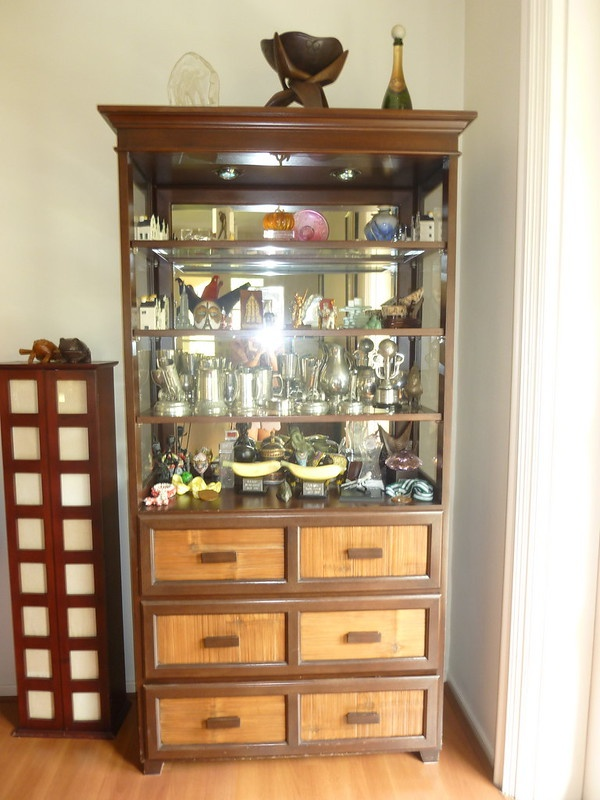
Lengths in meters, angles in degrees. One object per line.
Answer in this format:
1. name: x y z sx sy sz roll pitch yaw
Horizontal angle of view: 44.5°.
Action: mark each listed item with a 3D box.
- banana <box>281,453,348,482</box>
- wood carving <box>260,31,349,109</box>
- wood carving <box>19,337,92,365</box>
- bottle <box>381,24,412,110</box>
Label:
1. banana: 0.056 0.246 2.531 0.303 0.110 0.081 -2 -22 5
2. wood carving: -0.010 -1.031 2.336 0.295 0.254 0.198 9 14 41
3. wood carving: -0.868 -0.180 2.574 0.173 0.090 0.133 -4 11 -35
4. bottle: 0.322 -1.084 2.411 0.087 0.278 0.223 1 11 7
